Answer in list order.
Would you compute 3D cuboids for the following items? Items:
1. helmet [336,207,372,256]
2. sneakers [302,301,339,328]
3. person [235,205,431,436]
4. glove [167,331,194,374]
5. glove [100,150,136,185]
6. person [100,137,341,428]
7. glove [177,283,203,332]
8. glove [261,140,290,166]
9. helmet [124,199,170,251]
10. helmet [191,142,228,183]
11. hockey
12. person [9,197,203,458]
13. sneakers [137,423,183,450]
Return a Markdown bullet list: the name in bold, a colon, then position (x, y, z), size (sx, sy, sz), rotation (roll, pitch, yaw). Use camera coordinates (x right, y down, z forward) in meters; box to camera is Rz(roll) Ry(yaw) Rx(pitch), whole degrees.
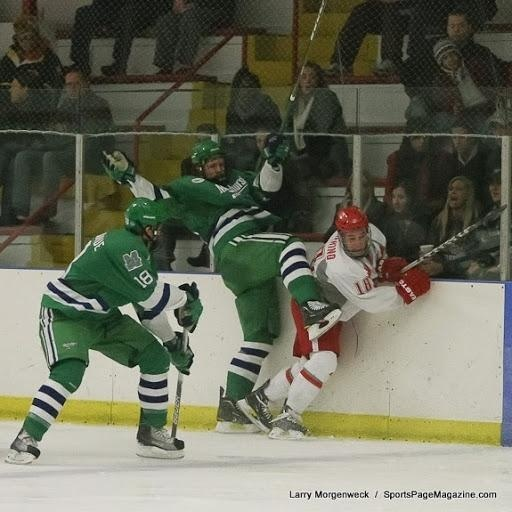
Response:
- **helmet**: position (0.503, -0.131, 5.119), size (0.153, 0.266, 0.167), rotation (5, 10, 28)
- **sneakers**: position (0.330, 0.299, 5.071), size (0.206, 0.131, 0.079), rotation (1, 9, 2)
- **person**: position (0.411, 0.358, 5.257), size (1.005, 1.273, 0.315), rotation (-1, 9, -7)
- **glove**: position (-0.408, 0.508, 5.099), size (0.099, 0.208, 0.162), rotation (-20, -26, -27)
- **glove**: position (-0.768, -0.490, 5.442), size (0.173, 0.087, 0.218), rotation (2, -6, -11)
- **person**: position (-0.062, 0.065, 5.386), size (1.150, 1.635, 0.760), rotation (-18, -20, 18)
- **glove**: position (-0.337, 0.251, 5.072), size (0.188, 0.216, 0.091), rotation (17, 34, 18)
- **glove**: position (0.100, -0.570, 5.290), size (0.113, 0.129, 0.142), rotation (0, -7, -21)
- **helmet**: position (-0.504, -0.188, 4.947), size (0.247, 0.228, 0.186), rotation (2, 24, 1)
- **helmet**: position (-0.255, -0.554, 5.534), size (0.202, 0.223, 0.258), rotation (-12, 5, -25)
- **hockey**: position (1.085, -0.103, 5.294), size (0.627, 0.067, 0.050), rotation (-32, 14, -1)
- **person**: position (-0.766, 0.449, 4.902), size (1.005, 1.184, 0.334), rotation (-3, 9, -19)
- **sneakers**: position (-0.507, 0.937, 5.057), size (0.302, 0.115, 0.096), rotation (3, 1, 2)
